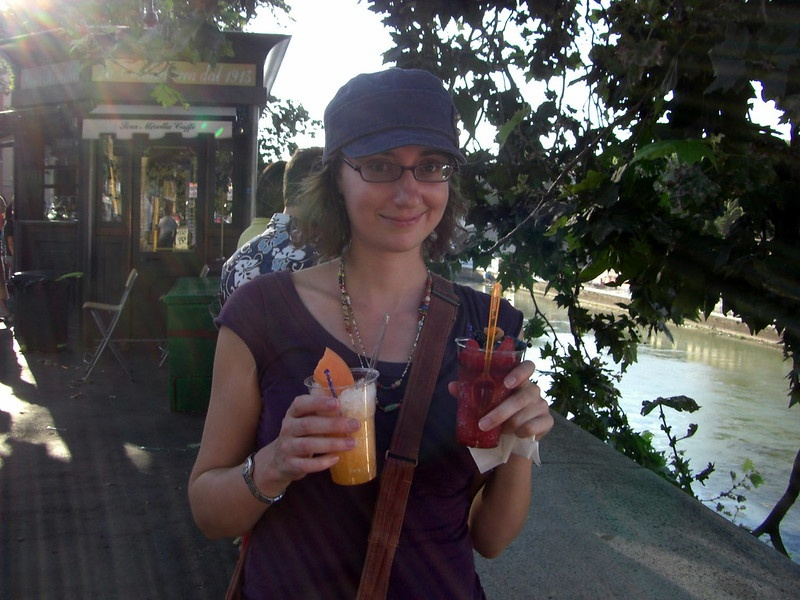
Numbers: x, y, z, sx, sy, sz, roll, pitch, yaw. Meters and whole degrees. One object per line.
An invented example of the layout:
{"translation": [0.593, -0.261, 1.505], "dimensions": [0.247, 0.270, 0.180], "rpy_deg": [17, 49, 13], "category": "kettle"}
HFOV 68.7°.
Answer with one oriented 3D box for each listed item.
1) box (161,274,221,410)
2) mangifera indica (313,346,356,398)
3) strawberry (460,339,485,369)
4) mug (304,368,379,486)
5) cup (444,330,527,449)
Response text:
{"translation": [-2.031, 0.424, 5.695], "dimensions": [0.588, 1.047, 1.136], "rpy_deg": [2, 19, -4], "category": "box"}
{"translation": [-0.220, 0.243, 1.950], "dimensions": [0.087, 0.189, 0.054], "rpy_deg": [2, -18, -29], "category": "mangifera indica"}
{"translation": [0.248, 0.189, 2.020], "dimensions": [0.064, 0.092, 0.083], "rpy_deg": [-16, -6, -8], "category": "strawberry"}
{"translation": [-0.137, 0.405, 2.115], "dimensions": [0.293, 0.469, 0.324], "rpy_deg": [-1, 7, 10], "category": "mug"}
{"translation": [0.228, 0.308, 2.110], "dimensions": [0.278, 0.467, 0.315], "rpy_deg": [6, -3, -9], "category": "cup"}
